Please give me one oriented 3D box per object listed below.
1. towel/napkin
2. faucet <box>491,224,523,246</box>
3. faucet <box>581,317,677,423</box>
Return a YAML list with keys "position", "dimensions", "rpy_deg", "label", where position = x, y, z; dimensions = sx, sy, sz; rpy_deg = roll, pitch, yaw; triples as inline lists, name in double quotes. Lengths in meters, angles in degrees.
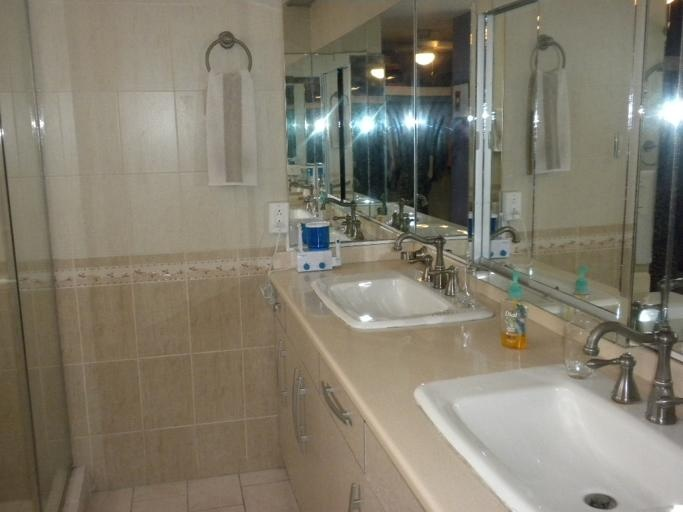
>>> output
- position: [-0.539, -0.613, 2.850]
  dimensions: [0.234, 0.535, 0.096]
  rpy_deg: [-4, 12, -6]
  label: "towel/napkin"
- position: [0.608, -0.076, 2.190]
  dimensions: [0.026, 0.066, 0.097]
  rpy_deg: [-13, 16, -31]
  label: "faucet"
- position: [0.711, 0.263, 1.517]
  dimensions: [0.243, 0.291, 0.242]
  rpy_deg: [5, 9, 27]
  label: "faucet"
